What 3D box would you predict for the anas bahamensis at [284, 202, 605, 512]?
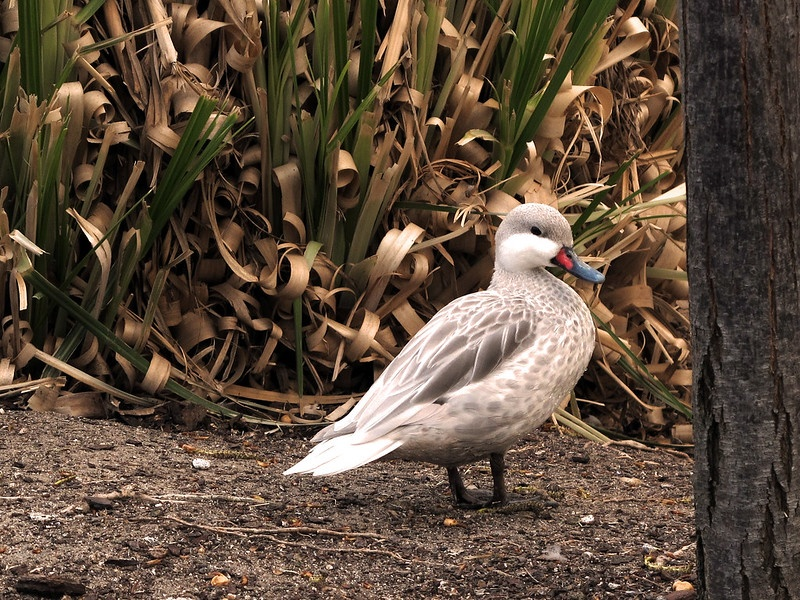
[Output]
[{"bbox_3d":[0.164,0.158,3.300,0.884,0.770,0.507,-11,8,-17],"label":"anas bahamensis"}]
